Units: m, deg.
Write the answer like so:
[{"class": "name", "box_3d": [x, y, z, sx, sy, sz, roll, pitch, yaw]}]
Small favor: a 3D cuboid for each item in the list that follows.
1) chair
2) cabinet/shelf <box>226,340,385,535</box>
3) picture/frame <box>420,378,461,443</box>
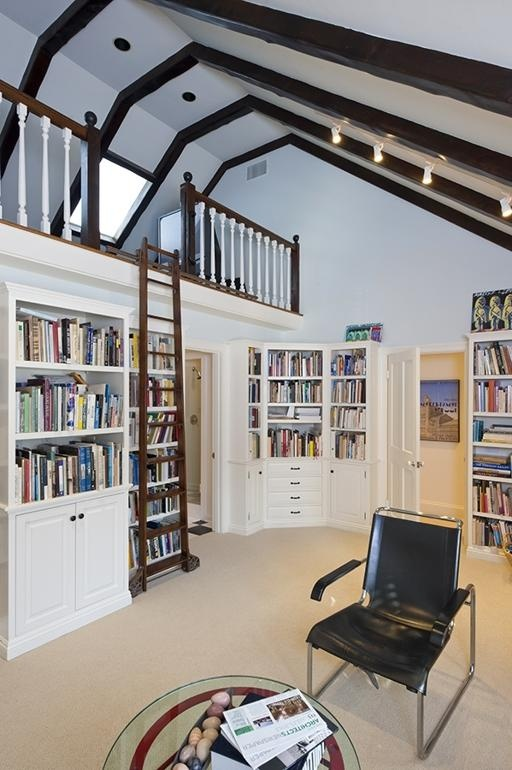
[{"class": "chair", "box_3d": [0.702, 1.100, 2.676, 0.789, 1.152, 0.872, 0, 1, 34]}, {"class": "cabinet/shelf", "box_3d": [0.488, 0.560, 5.415, 1.683, 2.161, 0.775, 0, -3, -10]}, {"class": "picture/frame", "box_3d": [1.932, 0.258, 5.680, 0.033, 0.820, 0.629, 2, -1, -43]}]
